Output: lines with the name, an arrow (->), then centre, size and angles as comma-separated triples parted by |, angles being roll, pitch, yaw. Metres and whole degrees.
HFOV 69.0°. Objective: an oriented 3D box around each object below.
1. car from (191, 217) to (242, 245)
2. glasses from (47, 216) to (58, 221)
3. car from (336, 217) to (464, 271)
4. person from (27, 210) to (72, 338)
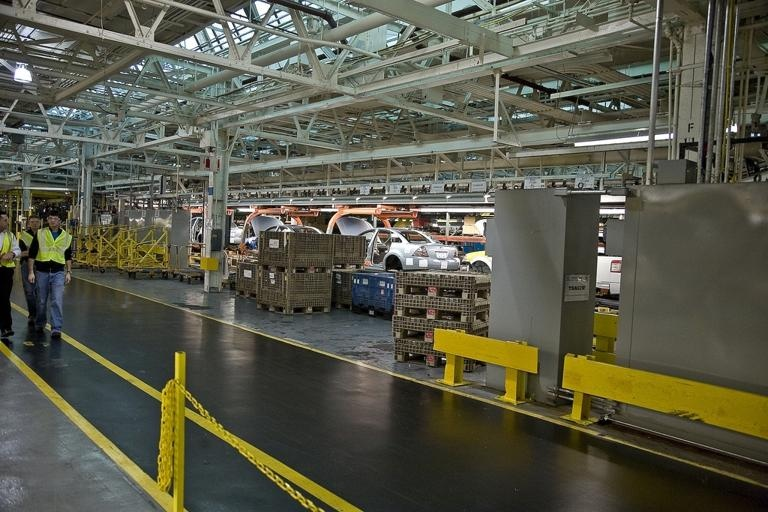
car -> -9.754, -1.276, 29.482 | 3.435, 1.266, 1.817 | 4, 1, 25
glasses -> -6.793, -0.759, 11.441 | 0.150, 0.079, 0.171 | 0, -5, -13
car -> 0.586, -0.278, 21.119 | 4.572, 1.542, 1.886 | -1, -3, 44
person -> -7.105, 0.389, 11.900 | 1.046, 2.675, 0.577 | 10, 12, 27
